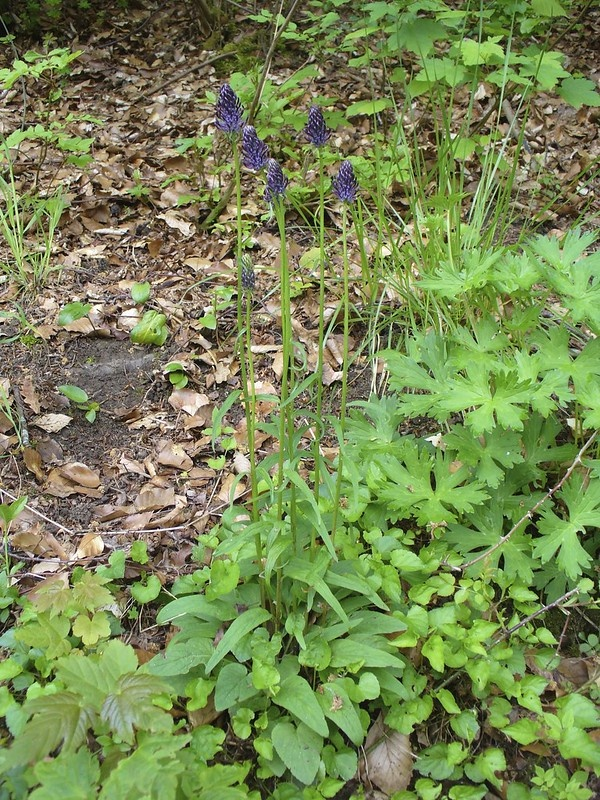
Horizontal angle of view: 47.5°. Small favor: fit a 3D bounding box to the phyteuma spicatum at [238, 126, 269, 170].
[{"bbox_3d":[-0.114,-0.604,1.669,0.080,0.099,0.049,-7,9,2],"label":"phyteuma spicatum"}]
